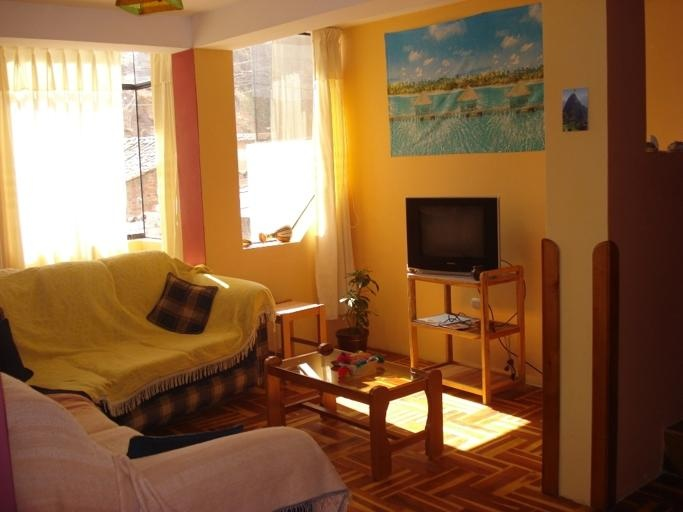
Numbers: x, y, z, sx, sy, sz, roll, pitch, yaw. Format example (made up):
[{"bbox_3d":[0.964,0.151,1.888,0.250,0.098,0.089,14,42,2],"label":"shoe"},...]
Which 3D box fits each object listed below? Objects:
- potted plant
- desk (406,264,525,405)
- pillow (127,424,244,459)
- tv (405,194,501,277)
[{"bbox_3d":[0.167,0.552,5.527,0.437,0.889,0.679,-1,8,3],"label":"potted plant"},{"bbox_3d":[1.043,0.585,4.675,0.576,1.034,0.867,-4,4,-27],"label":"desk"},{"bbox_3d":[-0.690,0.775,2.329,0.275,0.123,0.214,3,-4,-32],"label":"pillow"},{"bbox_3d":[0.915,-0.192,4.692,1.011,0.802,0.554,2,3,40],"label":"tv"}]
